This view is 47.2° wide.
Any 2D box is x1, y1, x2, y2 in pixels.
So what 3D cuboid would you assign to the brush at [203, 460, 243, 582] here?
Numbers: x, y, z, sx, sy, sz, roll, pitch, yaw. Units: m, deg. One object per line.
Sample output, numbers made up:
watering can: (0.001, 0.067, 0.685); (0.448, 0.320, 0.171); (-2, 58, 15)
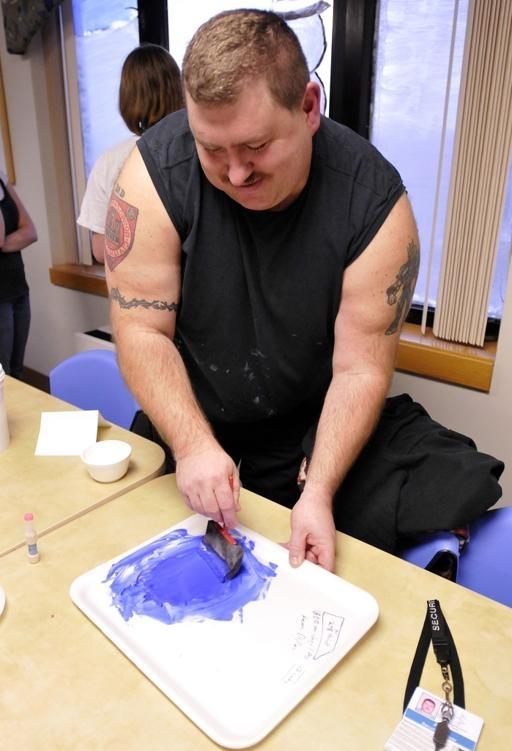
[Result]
brush: (-0.046, 0.241, 0.828); (0.027, 0.031, 0.112); (-35, 18, 0)
